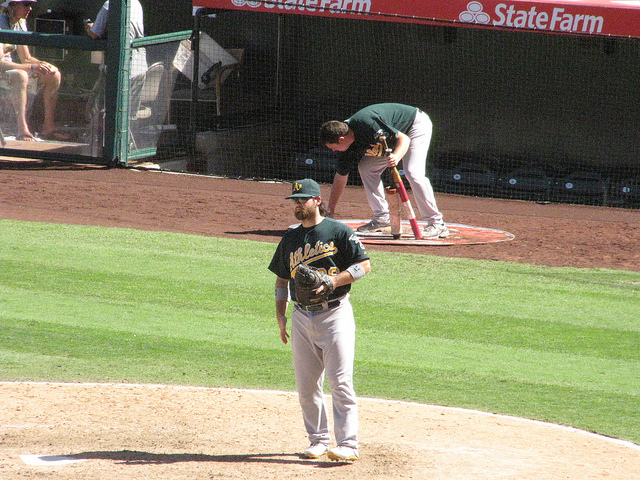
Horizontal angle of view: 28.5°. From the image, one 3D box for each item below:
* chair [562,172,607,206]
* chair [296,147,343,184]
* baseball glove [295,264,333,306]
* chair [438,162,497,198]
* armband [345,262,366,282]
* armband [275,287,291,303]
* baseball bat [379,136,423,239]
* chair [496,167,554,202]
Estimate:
[{"bbox_3d":[4.949,-0.951,23.501,0.828,0.538,0.417,4,8,8],"label":"chair"},{"bbox_3d":[-0.082,-1.428,24.133,0.598,0.667,0.867,0,8,-25],"label":"chair"},{"bbox_3d":[-0.071,0.446,13.083,0.347,0.419,0.204,-30,-3,12],"label":"baseball glove"},{"bbox_3d":[2.810,-1.097,23.874,1.164,0.604,0.878,0,14,16],"label":"chair"},{"bbox_3d":[0.378,0.334,13.199,0.145,0.171,0.154,-27,12,-14],"label":"armband"},{"bbox_3d":[-0.401,0.571,13.455,0.162,0.135,0.164,-1,-3,30],"label":"armband"},{"bbox_3d":[1.189,-0.755,18.549,0.201,1.652,0.197,-12,22,48],"label":"baseball bat"},{"bbox_3d":[3.865,-1.029,23.703,0.902,0.339,0.661,5,6,27],"label":"chair"}]
